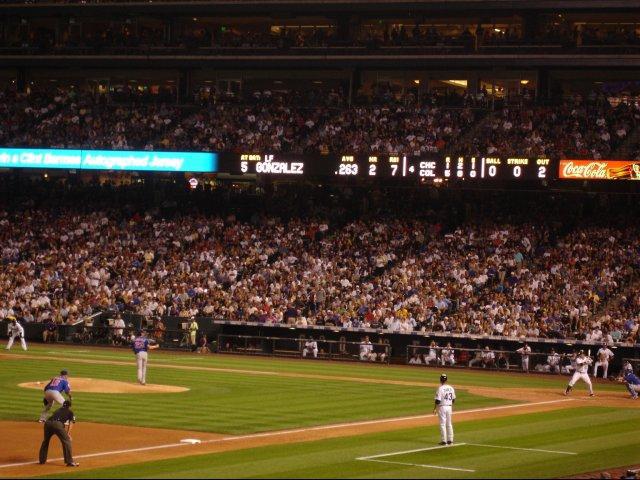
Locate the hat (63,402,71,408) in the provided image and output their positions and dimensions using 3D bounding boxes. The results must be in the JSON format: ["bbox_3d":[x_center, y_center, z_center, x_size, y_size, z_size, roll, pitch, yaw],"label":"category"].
[{"bbox_3d":[-9.240,6.154,45.302,0.164,0.265,0.241,6,-9,-19],"label":"hat"}]

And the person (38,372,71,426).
[{"bbox_3d":[-10.000,6.114,47.188,1.046,2.147,1.100,6,-12,21],"label":"person"}]

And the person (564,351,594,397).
[{"bbox_3d":[11.691,6.160,55.492,1.228,2.149,1.030,2,9,-1],"label":"person"}]

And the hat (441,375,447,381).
[{"bbox_3d":[4.715,5.407,47.303,0.191,0.247,0.225,1,-2,-20],"label":"hat"}]
